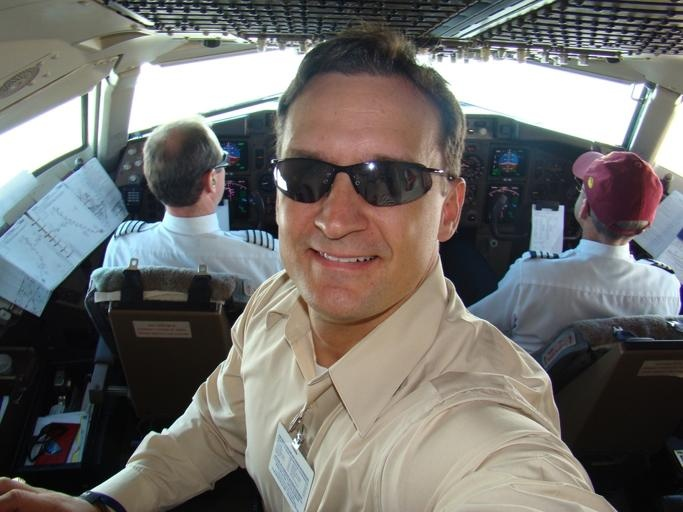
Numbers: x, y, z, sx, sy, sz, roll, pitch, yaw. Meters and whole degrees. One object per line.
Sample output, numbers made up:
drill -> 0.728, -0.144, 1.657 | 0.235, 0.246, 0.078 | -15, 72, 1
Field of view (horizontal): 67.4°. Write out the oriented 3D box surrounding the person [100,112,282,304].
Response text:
person -> -0.980, -0.285, 3.450 | 1.362, 1.199, 0.667 | 8, 14, 20

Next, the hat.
hat -> 1.811, -0.402, 3.326 | 0.429, 0.384, 0.647 | 2, 49, -6
